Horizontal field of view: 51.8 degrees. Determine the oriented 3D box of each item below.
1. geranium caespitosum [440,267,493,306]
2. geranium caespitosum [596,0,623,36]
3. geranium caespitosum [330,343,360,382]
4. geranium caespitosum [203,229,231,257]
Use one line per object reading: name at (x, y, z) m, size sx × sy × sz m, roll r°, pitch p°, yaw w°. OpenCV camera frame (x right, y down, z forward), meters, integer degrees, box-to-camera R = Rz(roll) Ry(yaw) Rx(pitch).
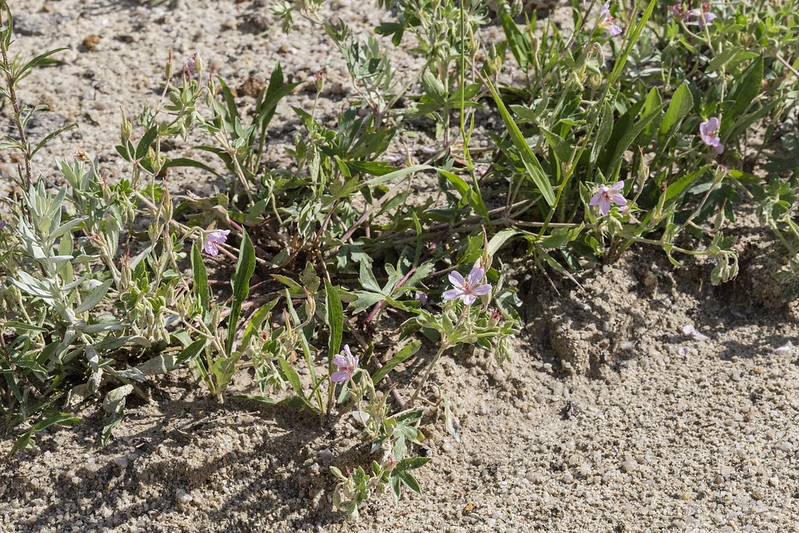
geranium caespitosum at (0.253, 0.086, 3.096) m, size 0.176 × 0.200 × 0.168 m, roll -3°, pitch 36°, yaw 4°
geranium caespitosum at (0.876, -1.057, 3.521) m, size 0.069 × 0.139 × 0.125 m, roll -10°, pitch 38°, yaw 31°
geranium caespitosum at (-0.201, 0.360, 3.144) m, size 0.121 × 0.137 × 0.063 m, roll -17°, pitch -8°, yaw 18°
geranium caespitosum at (-0.721, -0.124, 3.308) m, size 0.059 × 0.112 × 0.115 m, roll 38°, pitch 51°, yaw 10°
